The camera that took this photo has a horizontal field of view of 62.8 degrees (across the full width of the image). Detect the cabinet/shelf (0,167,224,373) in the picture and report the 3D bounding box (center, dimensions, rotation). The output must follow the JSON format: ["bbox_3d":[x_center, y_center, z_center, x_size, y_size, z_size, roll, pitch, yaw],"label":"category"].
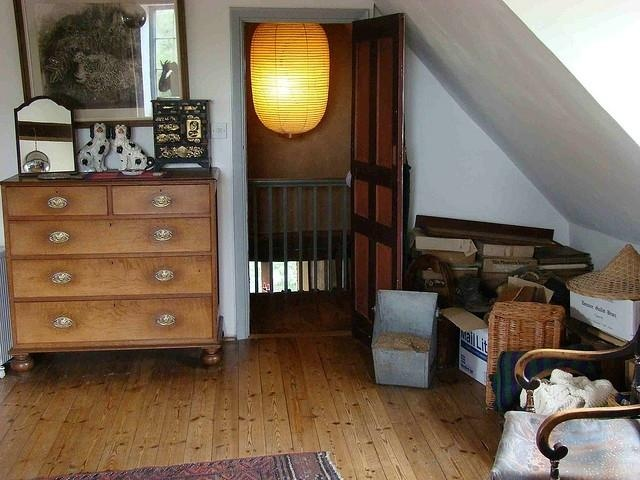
[{"bbox_3d":[-1.380,0.182,3.428,1.538,1.236,0.649,-1,10,-3],"label":"cabinet/shelf"}]
